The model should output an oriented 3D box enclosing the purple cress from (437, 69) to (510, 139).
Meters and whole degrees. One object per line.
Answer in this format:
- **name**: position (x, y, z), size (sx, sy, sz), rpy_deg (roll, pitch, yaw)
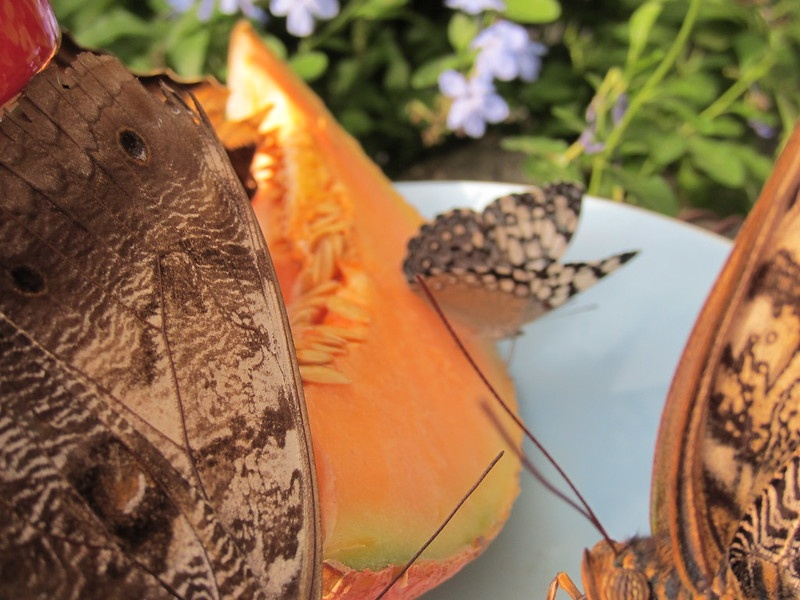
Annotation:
- **purple cress**: position (0.097, -0.266, 1.488), size (0.053, 0.108, 0.080), rpy_deg (8, -65, 6)
